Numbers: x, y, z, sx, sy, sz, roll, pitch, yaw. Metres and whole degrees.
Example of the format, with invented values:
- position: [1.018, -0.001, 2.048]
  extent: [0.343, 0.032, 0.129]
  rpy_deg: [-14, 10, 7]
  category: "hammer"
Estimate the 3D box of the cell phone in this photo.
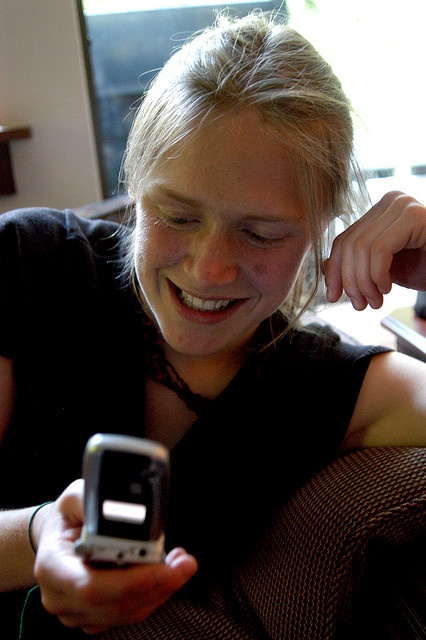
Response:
- position: [-0.079, 0.155, 0.465]
  extent: [0.091, 0.138, 0.032]
  rpy_deg: [-16, 31, -17]
  category: "cell phone"

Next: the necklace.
- position: [-0.068, 0.091, 0.893]
  extent: [0.111, 0.027, 0.082]
  rpy_deg: [50, 21, 22]
  category: "necklace"
